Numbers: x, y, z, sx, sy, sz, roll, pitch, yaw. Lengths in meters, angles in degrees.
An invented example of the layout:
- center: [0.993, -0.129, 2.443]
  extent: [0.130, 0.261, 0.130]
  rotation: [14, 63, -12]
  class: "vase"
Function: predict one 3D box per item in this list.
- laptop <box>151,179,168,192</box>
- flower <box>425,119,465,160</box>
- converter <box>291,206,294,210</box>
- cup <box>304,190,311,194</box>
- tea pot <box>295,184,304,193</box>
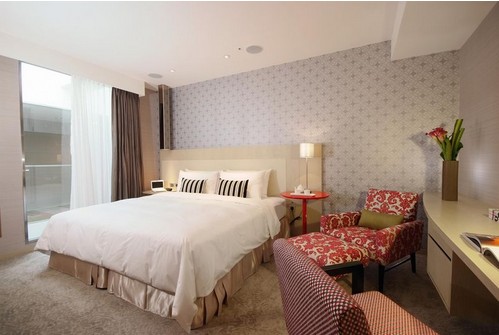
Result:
- center: [-1.896, 0.377, 6.756]
  extent: [0.289, 0.206, 0.238]
  rotation: [2, -2, -40]
  class: "laptop"
- center: [2.580, -0.365, 4.231]
  extent: [0.377, 0.531, 0.137]
  rotation: [1, 2, 26]
  class: "flower"
- center: [0.742, 0.692, 5.557]
  extent: [0.055, 0.051, 0.013]
  rotation: [4, -5, 7]
  class: "converter"
- center: [0.931, 0.384, 5.089]
  extent: [0.070, 0.060, 0.092]
  rotation: [-2, -8, 35]
  class: "cup"
- center: [0.820, 0.334, 5.222]
  extent: [0.084, 0.115, 0.083]
  rotation: [7, 24, -3]
  class: "tea pot"
